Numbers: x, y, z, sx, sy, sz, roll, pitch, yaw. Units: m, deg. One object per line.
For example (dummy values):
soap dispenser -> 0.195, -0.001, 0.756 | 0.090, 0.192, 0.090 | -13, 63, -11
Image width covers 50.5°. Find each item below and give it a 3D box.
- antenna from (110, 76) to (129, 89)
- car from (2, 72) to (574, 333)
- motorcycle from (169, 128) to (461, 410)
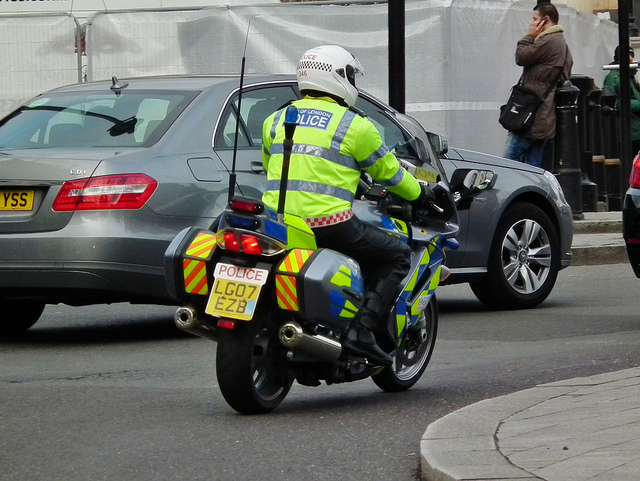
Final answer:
antenna -> -1.854, -1.454, 6.201 | 0.177, 0.101, 0.102 | -1, 32, -8
car -> 0.022, -0.461, 6.703 | 5.683, 1.778, 2.560 | -3, 1, -34
motorcycle -> 0.028, 0.265, 3.848 | 1.564, 1.367, 0.706 | -2, 2, -38
